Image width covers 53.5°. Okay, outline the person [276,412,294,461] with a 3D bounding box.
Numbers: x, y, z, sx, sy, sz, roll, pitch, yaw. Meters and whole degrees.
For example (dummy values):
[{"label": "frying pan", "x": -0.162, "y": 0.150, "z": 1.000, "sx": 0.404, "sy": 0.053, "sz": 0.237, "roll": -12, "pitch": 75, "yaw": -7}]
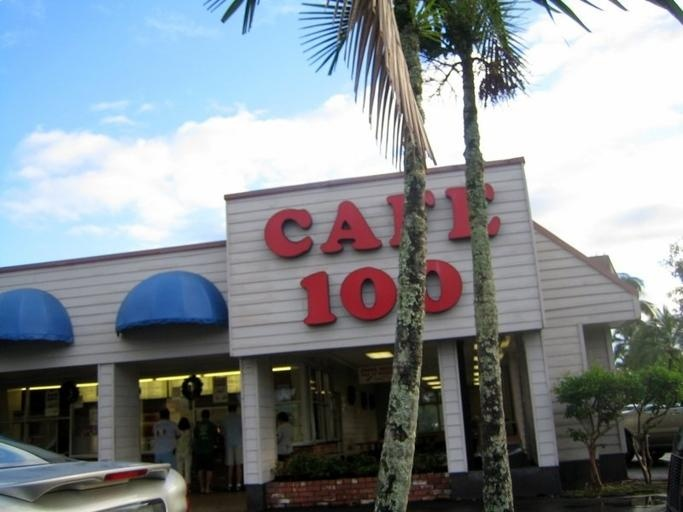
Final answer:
[{"label": "person", "x": -1.481, "y": 4.647, "z": 17.530, "sx": 0.426, "sy": 1.196, "sz": 0.534, "roll": -5, "pitch": -13, "yaw": -8}]
